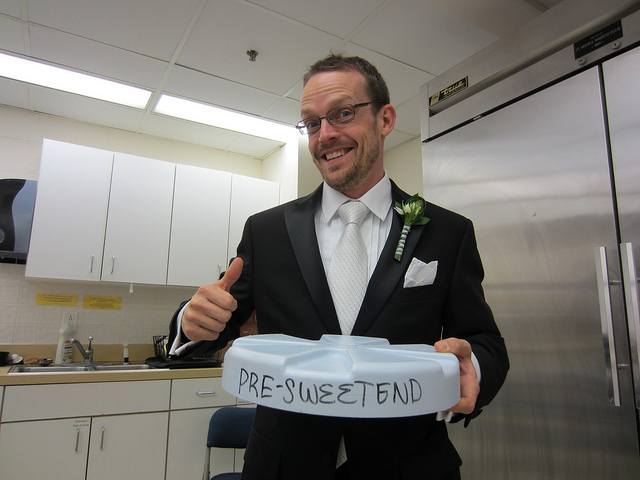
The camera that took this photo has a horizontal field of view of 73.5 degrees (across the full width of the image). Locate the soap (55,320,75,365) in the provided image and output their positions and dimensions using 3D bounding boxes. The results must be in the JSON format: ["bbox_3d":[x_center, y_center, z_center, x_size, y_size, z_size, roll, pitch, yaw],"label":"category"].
[{"bbox_3d":[-1.830,0.732,3.088,0.078,0.305,0.185,-1,-5,-2],"label":"soap"}]

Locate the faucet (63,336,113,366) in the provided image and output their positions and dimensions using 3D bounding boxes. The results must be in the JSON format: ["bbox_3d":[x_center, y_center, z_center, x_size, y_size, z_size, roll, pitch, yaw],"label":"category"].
[{"bbox_3d":[-1.685,0.823,3.089,0.212,0.103,0.228,0,-17,0],"label":"faucet"}]

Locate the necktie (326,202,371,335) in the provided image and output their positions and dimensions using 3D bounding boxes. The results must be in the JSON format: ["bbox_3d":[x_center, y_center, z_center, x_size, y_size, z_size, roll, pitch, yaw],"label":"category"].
[{"bbox_3d":[0.086,0.066,1.265,0.111,0.452,0.074,0,-40,10],"label":"necktie"}]
